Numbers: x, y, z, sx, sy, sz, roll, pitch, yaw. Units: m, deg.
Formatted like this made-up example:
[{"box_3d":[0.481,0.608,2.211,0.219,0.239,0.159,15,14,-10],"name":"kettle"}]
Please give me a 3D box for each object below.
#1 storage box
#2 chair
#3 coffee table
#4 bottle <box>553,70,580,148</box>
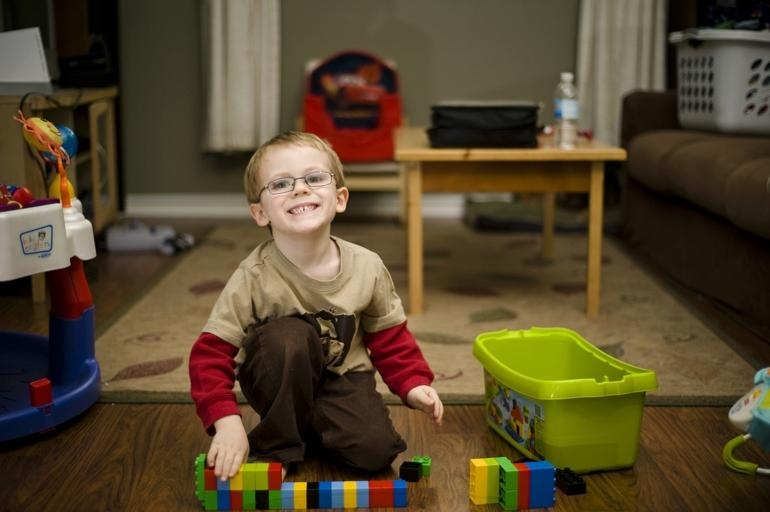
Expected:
[{"box_3d":[0.371,0.302,1.444,0.264,0.186,0.377,-3,8,-21],"name":"storage box"},{"box_3d":[-0.099,-0.357,2.008,0.343,0.484,0.324,-1,4,12],"name":"chair"},{"box_3d":[0.379,-0.153,2.271,0.674,0.488,0.706,1,14,7],"name":"coffee table"},{"box_3d":[0.500,-0.400,1.830,0.069,0.214,0.133,3,19,16],"name":"bottle"}]
